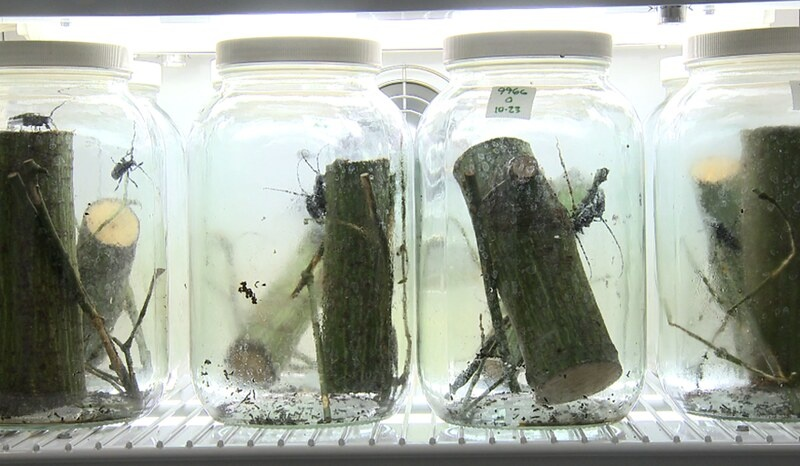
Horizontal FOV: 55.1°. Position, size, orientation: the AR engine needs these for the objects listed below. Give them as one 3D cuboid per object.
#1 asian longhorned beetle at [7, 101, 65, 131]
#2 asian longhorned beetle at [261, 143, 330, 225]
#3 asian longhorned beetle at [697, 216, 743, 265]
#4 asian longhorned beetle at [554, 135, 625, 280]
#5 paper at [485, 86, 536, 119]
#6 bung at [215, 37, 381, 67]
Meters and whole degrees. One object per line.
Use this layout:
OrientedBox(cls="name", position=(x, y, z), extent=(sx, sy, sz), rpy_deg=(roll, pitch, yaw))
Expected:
OrientedBox(cls="asian longhorned beetle", position=(-0.694, -0.226, 1.473), extent=(0.105, 0.055, 0.036), rpy_deg=(-3, 8, -23))
OrientedBox(cls="asian longhorned beetle", position=(-0.221, -0.083, 1.468), extent=(0.172, 0.148, 0.094), rpy_deg=(-3, 2, -37))
OrientedBox(cls="asian longhorned beetle", position=(0.610, 0.013, 1.450), extent=(0.038, 0.088, 0.041), rpy_deg=(0, 2, -5))
OrientedBox(cls="asian longhorned beetle", position=(0.359, -0.050, 1.457), extent=(0.092, 0.302, 0.086), rpy_deg=(2, 4, 11))
OrientedBox(cls="paper", position=(0.208, -0.246, 1.444), extent=(0.066, 0.046, 0.006), rpy_deg=(7, -14, 10))
OrientedBox(cls="bung", position=(-0.191, -0.340, 1.438), extent=(0.302, 0.050, 0.057), rpy_deg=(-1, 7, -4))
